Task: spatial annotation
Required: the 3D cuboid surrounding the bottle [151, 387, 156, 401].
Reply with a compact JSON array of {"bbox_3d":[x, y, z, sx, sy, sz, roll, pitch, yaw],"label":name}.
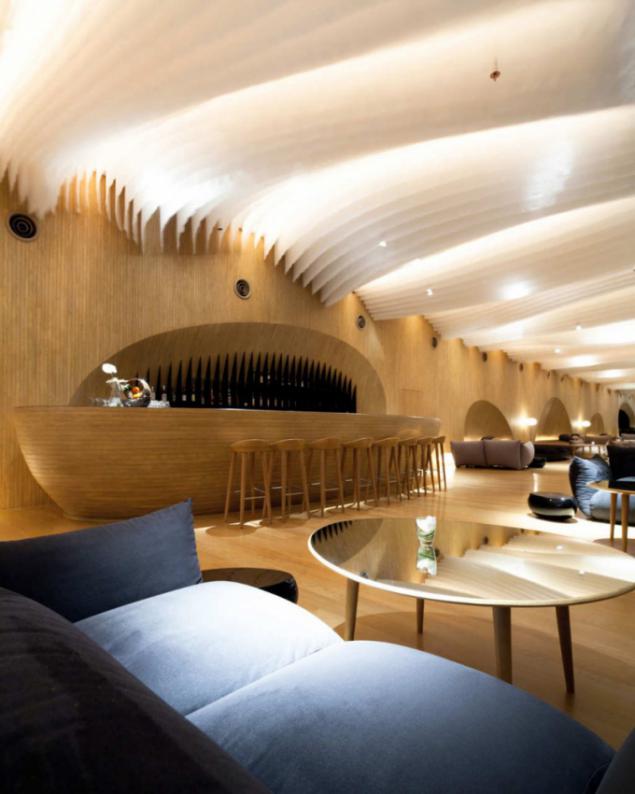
[{"bbox_3d":[-2.170,-0.048,7.711,0.055,0.145,0.052,0,0,0],"label":"bottle"}]
